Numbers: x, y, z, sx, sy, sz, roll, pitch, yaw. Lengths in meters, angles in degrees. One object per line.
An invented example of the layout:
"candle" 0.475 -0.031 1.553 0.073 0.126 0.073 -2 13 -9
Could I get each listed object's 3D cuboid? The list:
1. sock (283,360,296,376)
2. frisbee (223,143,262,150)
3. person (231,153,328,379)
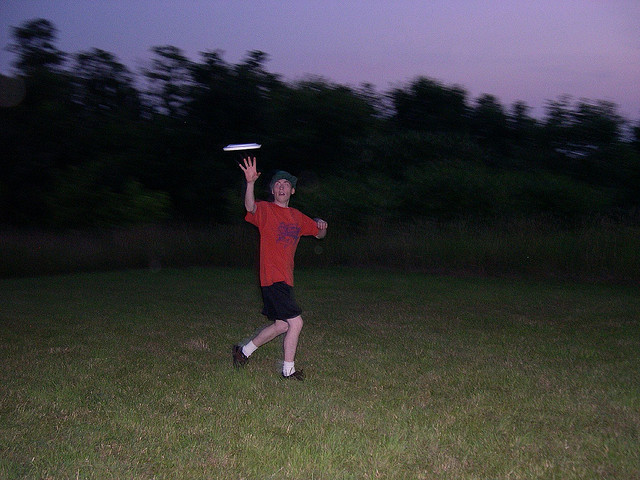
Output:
"sock" -0.350 1.499 5.968 0.112 0.171 0.168 -6 -27 25
"frisbee" -0.908 -1.078 5.855 0.396 0.084 0.373 0 6 -6
"person" -0.532 0.308 6.136 1.061 2.606 0.799 -1 6 -11
